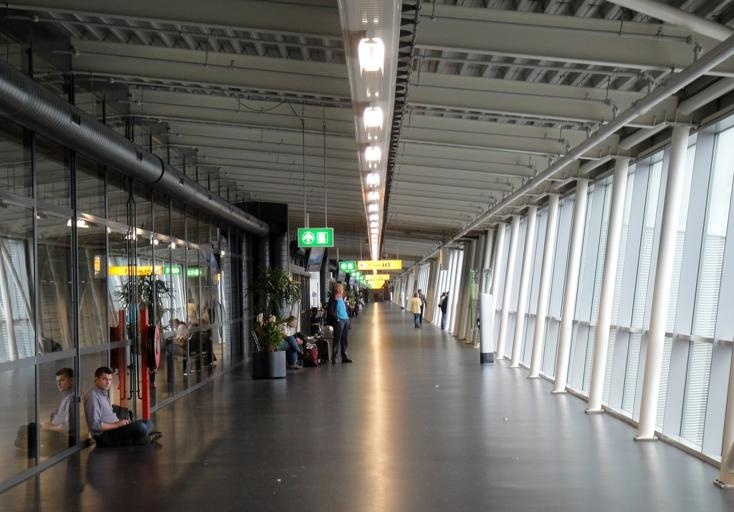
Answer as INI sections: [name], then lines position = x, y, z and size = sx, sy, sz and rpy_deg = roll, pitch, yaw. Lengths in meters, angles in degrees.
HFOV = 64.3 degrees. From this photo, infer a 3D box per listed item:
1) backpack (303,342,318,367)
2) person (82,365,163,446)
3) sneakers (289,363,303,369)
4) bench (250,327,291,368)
[backpack]
position = -1.774, 3.072, 18.333
size = 0.668, 0.944, 0.482
rpy_deg = 2, -14, -7
[person]
position = -4.259, 2.643, 9.969
size = 1.338, 1.423, 0.985
rpy_deg = 1, -14, -11
[sneakers]
position = -2.173, 3.334, 17.736
size = 0.420, 0.186, 0.148
rpy_deg = -3, -3, 8
[bench]
position = -2.616, 2.604, 16.097
size = 1.171, 1.577, 1.049
rpy_deg = 1, -6, -7
